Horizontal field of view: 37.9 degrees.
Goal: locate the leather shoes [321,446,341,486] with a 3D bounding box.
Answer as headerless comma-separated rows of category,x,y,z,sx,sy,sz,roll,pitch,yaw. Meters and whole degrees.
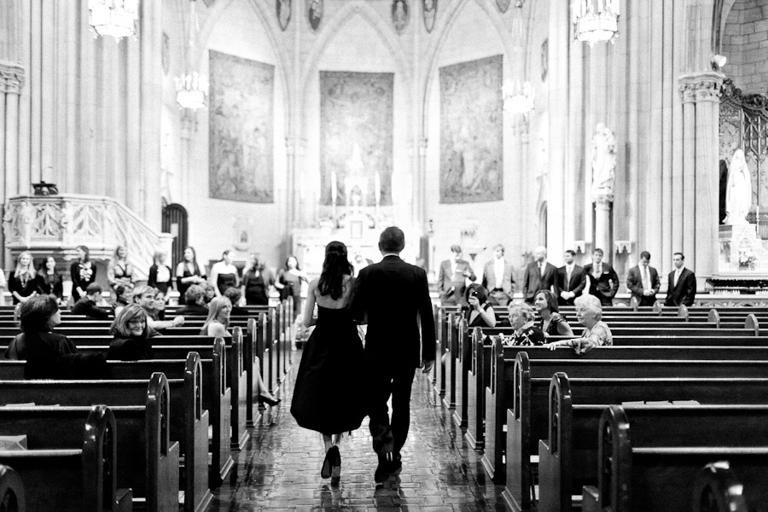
leather shoes,-0.721,2.816,15.216,0.211,0.567,0.211,6,-6,-4
